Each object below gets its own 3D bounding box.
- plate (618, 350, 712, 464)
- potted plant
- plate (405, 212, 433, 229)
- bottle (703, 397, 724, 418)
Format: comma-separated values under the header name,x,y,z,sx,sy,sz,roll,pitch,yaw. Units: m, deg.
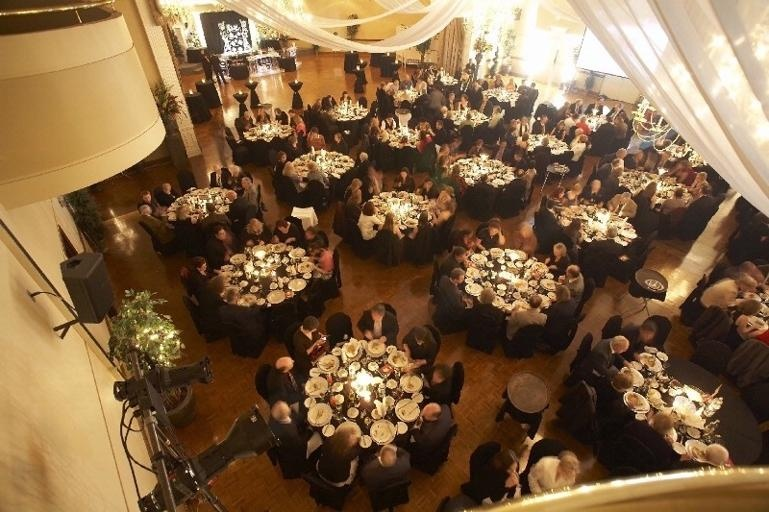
name,x,y,z,sx,sy,sz,roll,pitch,yaw
plate,3.753,1.911,6.788,1.066,0.358,0.998,21,56,25
potted plant,-3.083,1.196,6.619,0.804,1.742,0.715,9,15,-33
plate,0.615,-0.699,9.364,0.351,0.142,0.352,19,58,29
bottle,4.226,1.947,6.645,0.119,0.359,0.127,-1,63,3
